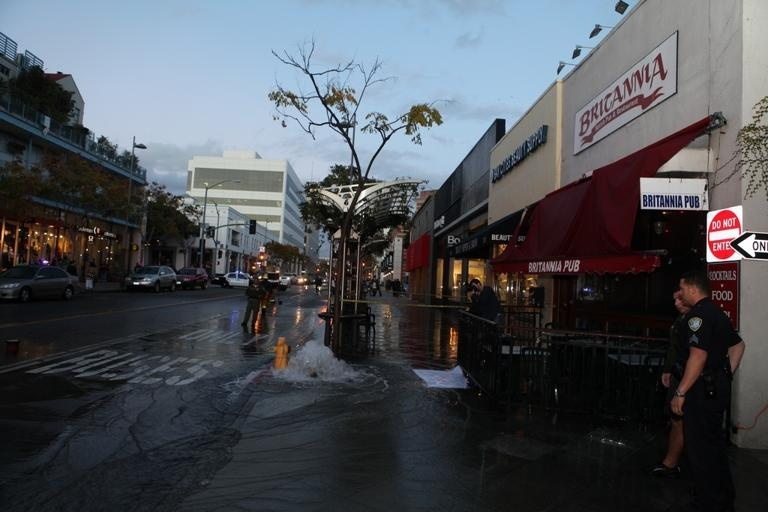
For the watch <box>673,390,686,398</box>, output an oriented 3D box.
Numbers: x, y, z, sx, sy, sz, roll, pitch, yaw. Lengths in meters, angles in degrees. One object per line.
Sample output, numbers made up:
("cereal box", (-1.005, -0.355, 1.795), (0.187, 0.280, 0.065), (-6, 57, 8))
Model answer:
("watch", (3.505, 1.638, 6.641), (0.095, 0.063, 0.099), (15, -3, 16))
